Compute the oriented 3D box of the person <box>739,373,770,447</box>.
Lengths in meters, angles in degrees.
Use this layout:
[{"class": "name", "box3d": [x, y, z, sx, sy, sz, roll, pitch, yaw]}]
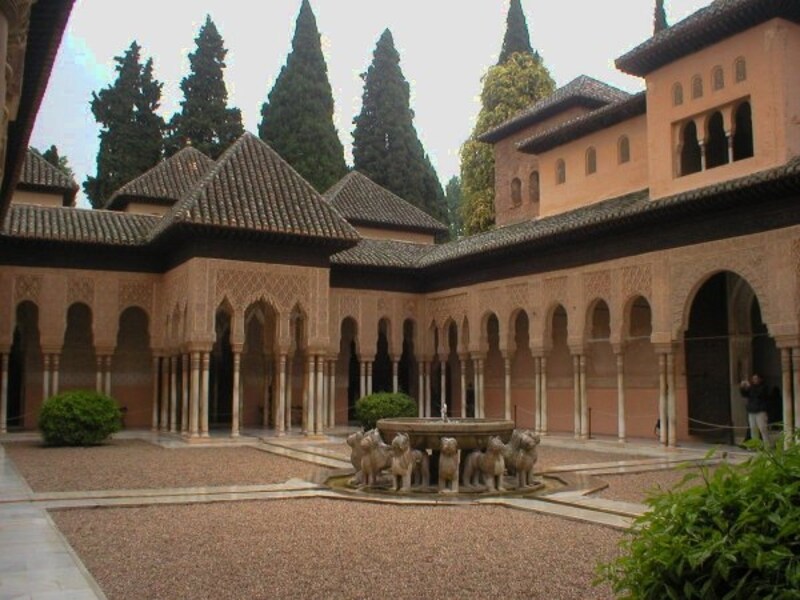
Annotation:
[{"class": "person", "box3d": [6.793, 1.997, 14.184, 0.452, 1.371, 2.729, -3, -12, 25]}]
